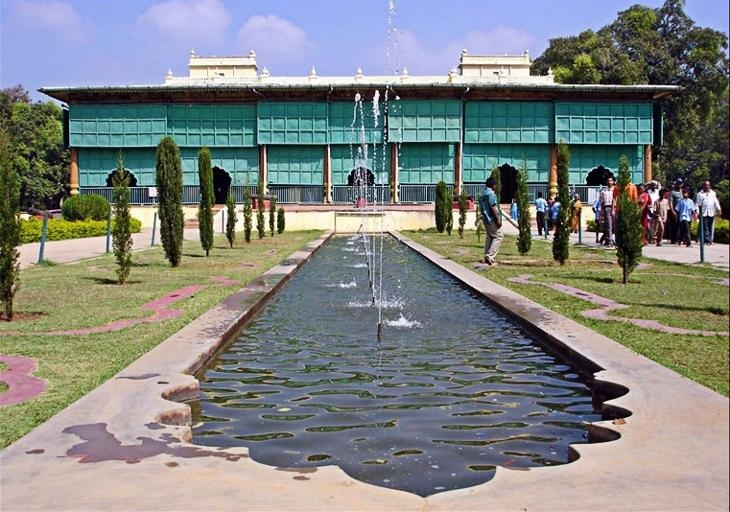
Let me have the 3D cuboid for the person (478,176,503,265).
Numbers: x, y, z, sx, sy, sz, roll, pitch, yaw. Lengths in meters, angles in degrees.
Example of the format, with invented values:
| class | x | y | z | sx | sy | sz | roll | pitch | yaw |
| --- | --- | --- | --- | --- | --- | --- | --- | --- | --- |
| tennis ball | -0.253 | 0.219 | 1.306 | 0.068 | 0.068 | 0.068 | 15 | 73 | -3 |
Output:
| class | x | y | z | sx | sy | sz | roll | pitch | yaw |
| --- | --- | --- | --- | --- | --- | --- | --- | --- | --- |
| person | 2.590 | -0.652 | 13.715 | 0.427 | 1.723 | 1.415 | 1 | 4 | 10 |
